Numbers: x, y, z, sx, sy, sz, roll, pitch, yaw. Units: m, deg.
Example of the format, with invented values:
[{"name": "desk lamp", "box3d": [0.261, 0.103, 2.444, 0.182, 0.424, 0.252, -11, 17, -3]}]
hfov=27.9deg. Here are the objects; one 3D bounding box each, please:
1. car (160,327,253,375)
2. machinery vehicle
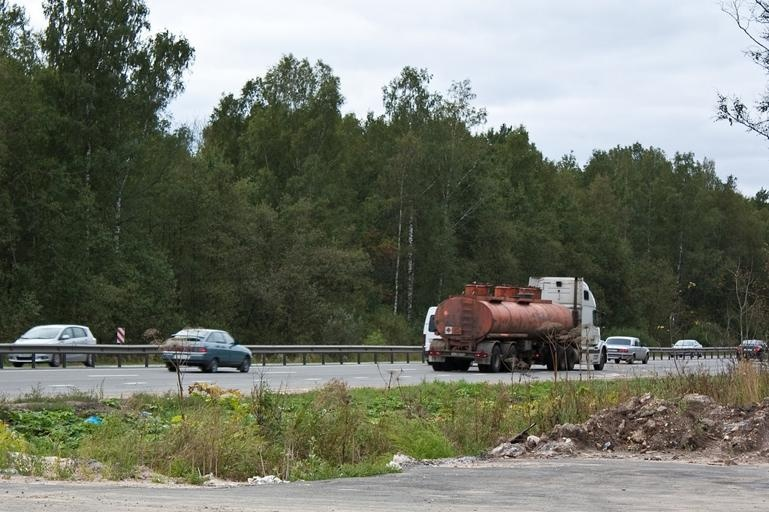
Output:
[{"name": "car", "box3d": [-9.999, 5.509, 88.885, 2.948, 2.782, 5.997, 1, -1, 27]}, {"name": "machinery vehicle", "box3d": [8.577, 4.313, 94.994, 4.577, 6.267, 12.763, 0, -4, 42]}]
